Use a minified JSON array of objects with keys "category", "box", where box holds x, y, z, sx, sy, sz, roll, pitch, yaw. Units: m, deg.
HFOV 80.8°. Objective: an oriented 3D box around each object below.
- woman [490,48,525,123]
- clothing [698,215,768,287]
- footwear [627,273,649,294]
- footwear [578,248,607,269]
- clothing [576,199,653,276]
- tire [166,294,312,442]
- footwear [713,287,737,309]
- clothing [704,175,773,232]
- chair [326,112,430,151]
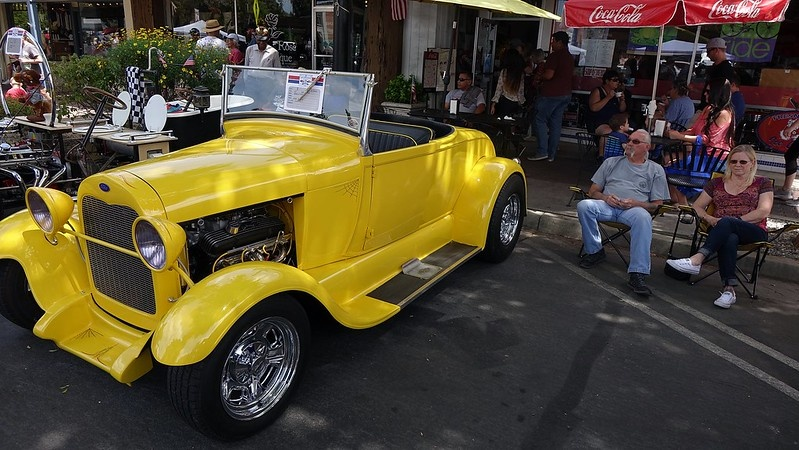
[{"category":"woman","box":[2.917,-3.345,12.363,0.861,2.431,0.762,11,31,17]},{"category":"clothing","box":[4.583,0.355,6.763,0.966,0.890,1.102,6,62,31]},{"category":"footwear","box":[3.375,0.820,6.581,0.307,0.262,0.260,11,22,24]},{"category":"footwear","box":[2.883,0.512,7.147,0.554,0.228,0.211,-9,11,-26]},{"category":"clothing","box":[3.316,-0.124,7.237,1.103,1.361,1.074,8,8,24]},{"category":"tire","box":[-1.587,1.374,4.498,0.364,1.035,1.128,8,63,43]},{"category":"footwear","box":[4.420,1.015,6.385,0.164,0.170,0.443,3,5,43]},{"category":"clothing","box":[4.816,-0.280,6.622,0.890,0.358,1.185,4,37,21]},{"category":"chair","box":[-0.194,-1.161,6.119,1.278,0.564,0.544,9,11,14]}]
